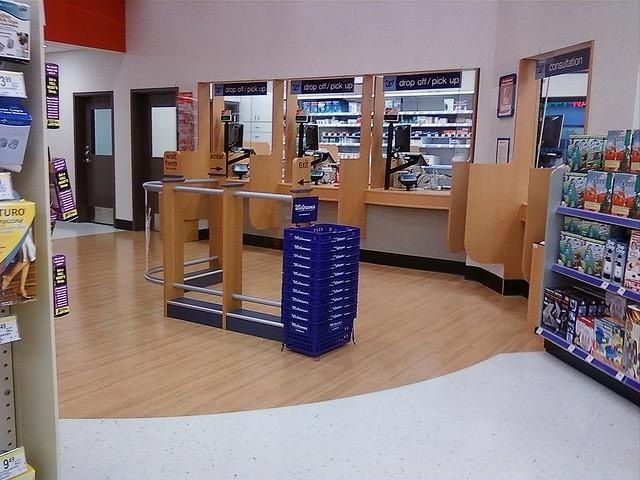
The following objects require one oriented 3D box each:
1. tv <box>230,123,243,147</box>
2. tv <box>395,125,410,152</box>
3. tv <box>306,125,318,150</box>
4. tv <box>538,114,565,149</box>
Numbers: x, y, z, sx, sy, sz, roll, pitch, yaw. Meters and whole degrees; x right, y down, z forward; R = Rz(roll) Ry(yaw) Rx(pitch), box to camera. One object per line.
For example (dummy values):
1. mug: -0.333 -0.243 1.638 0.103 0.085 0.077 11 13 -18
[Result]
1. tv: -1.447 -1.823 7.889 0.189 0.401 0.347 -1 12 -13
2. tv: 1.260 -1.561 6.929 0.339 0.483 0.056 9 17 32
3. tv: -0.138 -1.702 7.482 0.238 0.477 0.322 -6 12 -23
4. tv: 3.138 -1.462 6.111 0.166 0.445 0.458 -5 14 -15
